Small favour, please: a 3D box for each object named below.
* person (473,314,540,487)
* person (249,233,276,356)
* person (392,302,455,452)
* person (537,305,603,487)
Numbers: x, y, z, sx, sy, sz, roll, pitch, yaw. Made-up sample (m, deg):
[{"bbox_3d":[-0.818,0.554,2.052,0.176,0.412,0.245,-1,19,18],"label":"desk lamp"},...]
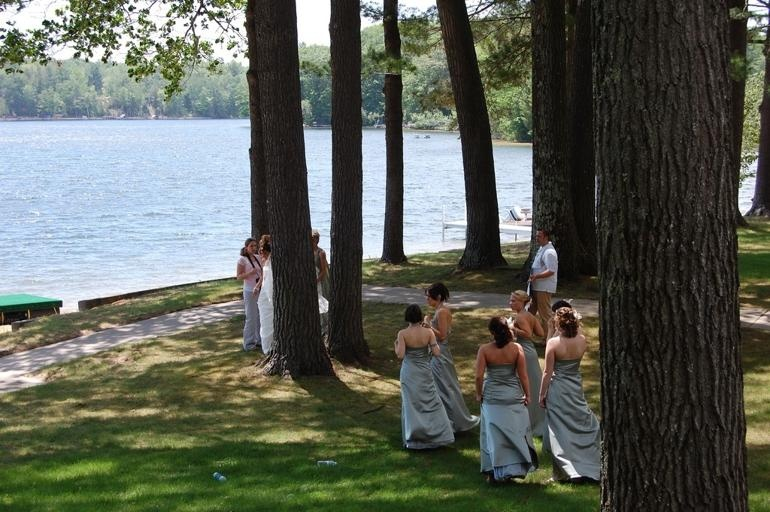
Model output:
[{"bbox_3d":[1.760,2.085,13.233,0.851,2.388,0.756,-1,12,5],"label":"person"},{"bbox_3d":[-2.319,0.698,17.754,0.319,2.283,0.711,-4,13,-8],"label":"person"},{"bbox_3d":[0.621,1.893,14.249,0.842,2.233,0.646,-2,12,-2],"label":"person"},{"bbox_3d":[2.705,2.014,13.187,0.794,2.417,0.768,-5,13,-13],"label":"person"}]
